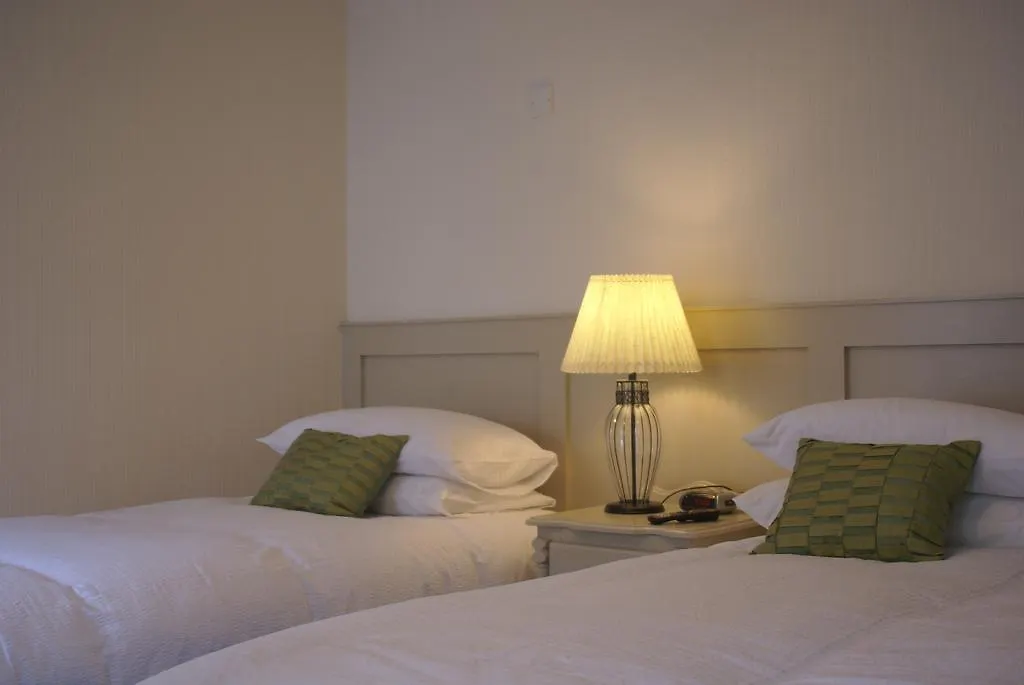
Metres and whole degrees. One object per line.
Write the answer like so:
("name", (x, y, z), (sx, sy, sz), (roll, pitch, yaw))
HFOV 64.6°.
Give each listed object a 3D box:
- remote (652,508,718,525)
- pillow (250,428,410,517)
("remote", (0.585, 0.581, 2.683), (0.264, 0.071, 0.075), (4, -6, -25))
("pillow", (-0.598, 0.454, 3.075), (0.480, 0.110, 0.495), (27, -40, -31))
